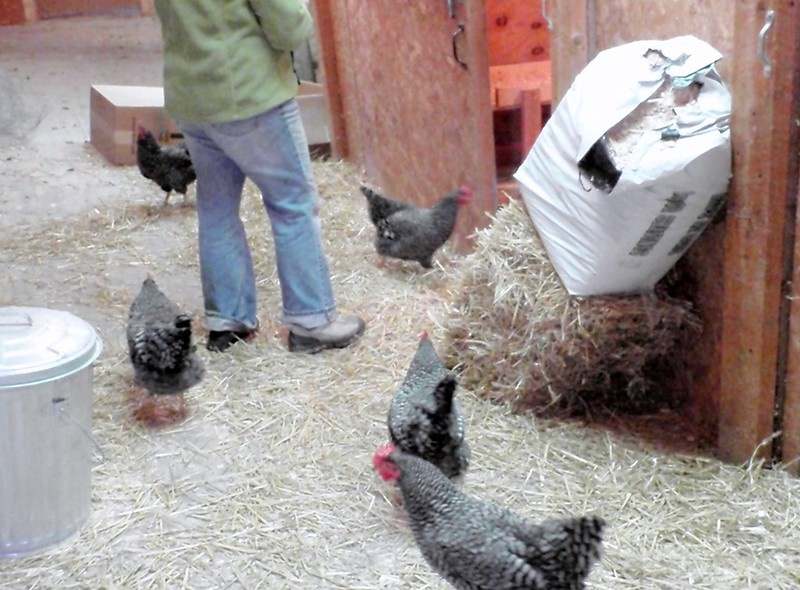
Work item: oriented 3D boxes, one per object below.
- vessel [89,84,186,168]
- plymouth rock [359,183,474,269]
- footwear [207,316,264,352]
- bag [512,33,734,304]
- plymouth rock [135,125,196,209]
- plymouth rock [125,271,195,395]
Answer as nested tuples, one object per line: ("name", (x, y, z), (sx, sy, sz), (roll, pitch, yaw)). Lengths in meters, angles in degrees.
("vessel", (-2.390, -1.362, 8.614), (0.845, 0.448, 0.886), (14, 16, 43))
("plymouth rock", (0.096, -0.411, 6.549), (0.847, 0.589, 0.436), (6, 20, 30))
("footwear", (-0.879, 0.201, 5.452), (0.315, 0.127, 0.105), (-16, 22, -40))
("bag", (1.042, -0.533, 4.645), (0.793, 1.071, 0.911), (0, 59, -27))
("plymouth rock", (-1.712, -0.932, 7.592), (0.578, 0.636, 0.353), (-10, 27, -44))
("plymouth rock", (-1.080, 0.163, 4.890), (0.275, 0.411, 0.539), (-17, 32, -11))
